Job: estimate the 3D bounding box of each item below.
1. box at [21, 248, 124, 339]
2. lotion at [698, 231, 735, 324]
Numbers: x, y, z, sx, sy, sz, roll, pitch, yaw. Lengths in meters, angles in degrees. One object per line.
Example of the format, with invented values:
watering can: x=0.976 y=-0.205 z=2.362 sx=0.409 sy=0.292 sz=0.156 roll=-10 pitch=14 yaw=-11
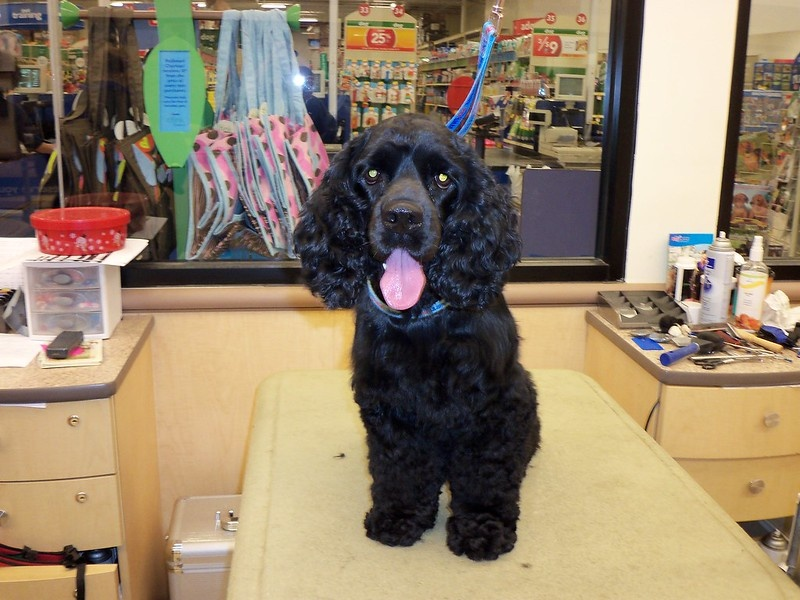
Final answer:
box: x=-1.088 y=-0.020 z=2.182 sx=0.368 sy=0.268 sz=0.211 roll=-5 pitch=24 yaw=-22
lotion: x=1.139 y=-0.072 z=2.374 sx=0.111 sy=0.329 sz=0.106 roll=-7 pitch=13 yaw=-43
